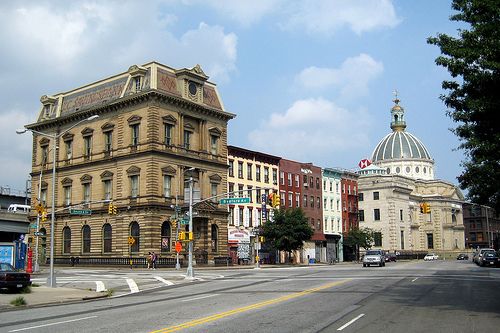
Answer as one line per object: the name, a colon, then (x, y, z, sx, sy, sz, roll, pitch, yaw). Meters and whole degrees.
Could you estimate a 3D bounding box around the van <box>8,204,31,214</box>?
van: (-37.444, 6.789, 94.793, 3.204, 1.505, 4.506, -1, -8, 1)

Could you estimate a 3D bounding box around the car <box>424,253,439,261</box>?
car: (35.120, 17.410, 113.087, 1.397, 1.480, 4.790, -10, -17, 32)
